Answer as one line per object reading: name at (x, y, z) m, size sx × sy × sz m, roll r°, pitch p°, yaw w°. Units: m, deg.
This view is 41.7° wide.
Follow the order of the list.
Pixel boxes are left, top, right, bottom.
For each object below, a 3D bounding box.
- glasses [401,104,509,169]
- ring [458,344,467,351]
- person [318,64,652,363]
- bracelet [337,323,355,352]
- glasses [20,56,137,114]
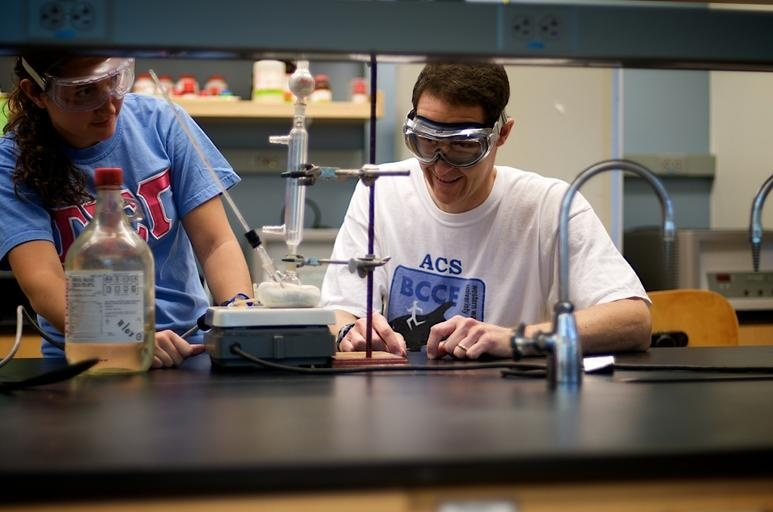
glasses at (0.197, -0.319, 2.823) m, size 0.289 × 0.155 × 0.193 m, roll 1°, pitch 14°, yaw 0°
ring at (0.190, 0.229, 2.525) m, size 0.022 × 0.017 × 0.008 m, roll 4°, pitch 14°, yaw 11°
person at (0.225, -0.045, 2.949) m, size 0.978 × 1.034 × 0.845 m, roll 2°, pitch 8°, yaw 15°
bracelet at (-0.103, 0.212, 2.666) m, size 0.044 × 0.060 × 0.024 m, roll -5°, pitch -33°, yaw 18°
glasses at (-0.738, -0.414, 2.515) m, size 0.210 × 0.061 × 0.175 m, roll 31°, pitch 42°, yaw 26°
